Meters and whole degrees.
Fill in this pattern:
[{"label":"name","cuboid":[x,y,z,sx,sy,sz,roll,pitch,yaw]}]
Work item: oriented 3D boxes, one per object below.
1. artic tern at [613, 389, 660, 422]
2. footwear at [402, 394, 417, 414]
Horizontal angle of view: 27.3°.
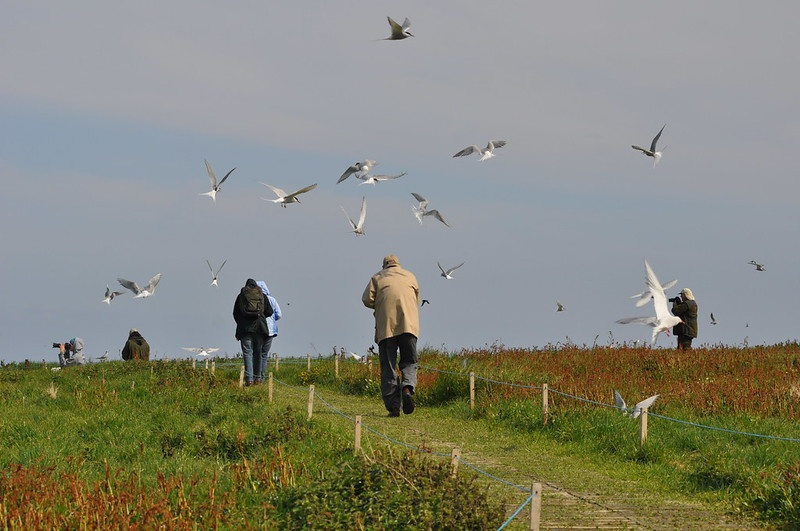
[{"label":"artic tern","cuboid":[5.538,3.264,38.709,1.009,0.612,0.737,8,7,-7]},{"label":"footwear","cuboid":[0.240,3.327,40.073,0.233,0.576,0.245,-6,13,0]}]
